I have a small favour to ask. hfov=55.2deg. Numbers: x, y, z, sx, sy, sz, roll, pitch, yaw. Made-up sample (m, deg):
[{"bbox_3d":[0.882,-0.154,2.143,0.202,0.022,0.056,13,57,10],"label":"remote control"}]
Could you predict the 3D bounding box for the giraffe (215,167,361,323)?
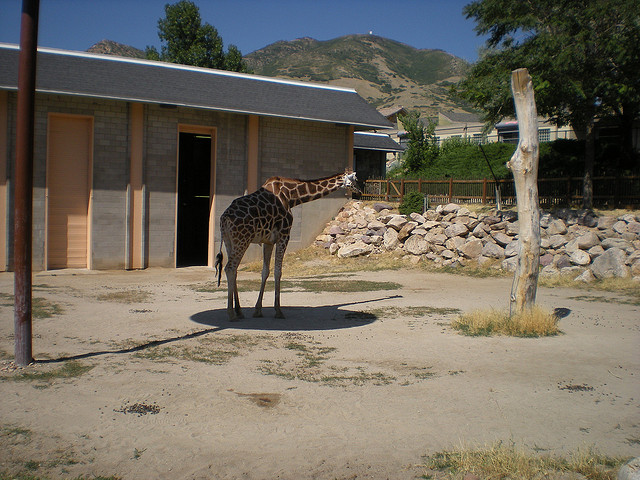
[{"bbox_3d":[-1.103,0.164,14.800,1.200,3.222,3.282,9,14,37],"label":"giraffe"}]
